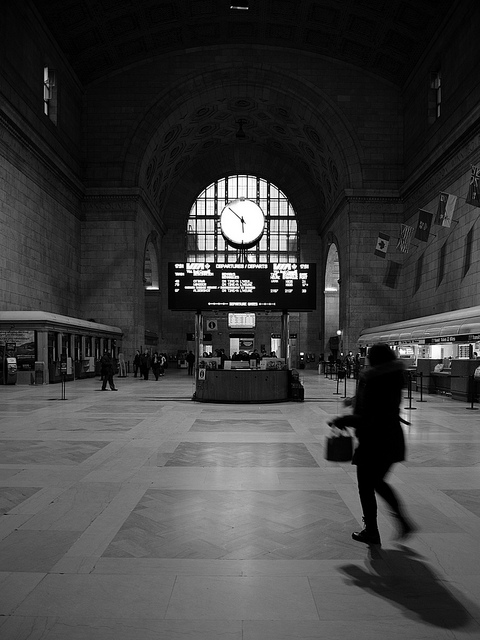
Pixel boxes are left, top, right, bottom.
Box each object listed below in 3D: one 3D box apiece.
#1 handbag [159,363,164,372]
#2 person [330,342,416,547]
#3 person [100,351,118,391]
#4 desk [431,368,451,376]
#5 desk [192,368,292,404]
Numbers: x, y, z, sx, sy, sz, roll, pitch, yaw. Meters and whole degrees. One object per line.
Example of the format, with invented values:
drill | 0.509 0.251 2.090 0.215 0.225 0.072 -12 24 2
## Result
handbag | -4.504 2.535 30.733 0.310 0.505 0.734 4 14 1
person | 0.954 0.882 3.781 0.526 1.482 0.314 -1 -1 19
person | -4.546 1.635 18.432 0.383 1.304 1.028 0 -1 -14
desk | 6.632 1.616 17.669 0.336 0.332 1.491 -1 -1 7
desk | 0.124 1.794 15.260 2.696 0.995 1.063 -1 -1 7
